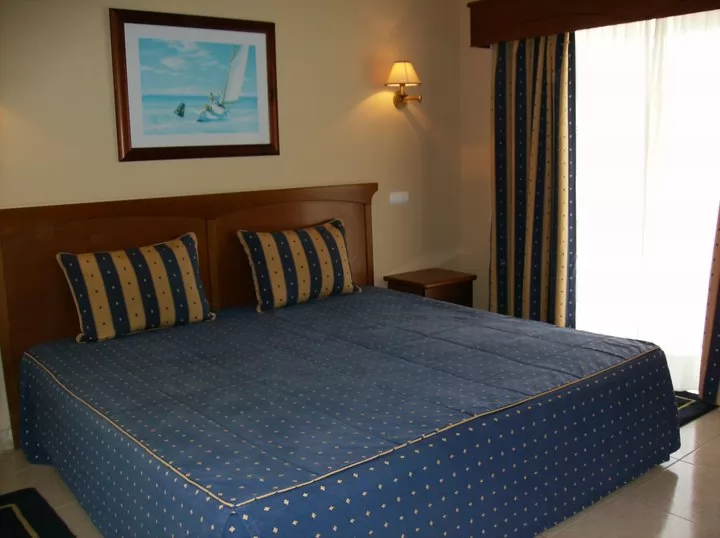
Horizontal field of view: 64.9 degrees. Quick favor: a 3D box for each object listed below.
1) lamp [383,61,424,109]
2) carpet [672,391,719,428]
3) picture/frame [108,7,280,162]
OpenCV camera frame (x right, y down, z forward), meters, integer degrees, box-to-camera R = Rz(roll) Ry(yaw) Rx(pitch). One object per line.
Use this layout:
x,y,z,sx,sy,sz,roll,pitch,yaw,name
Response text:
0.353,-1.414,4.481,0.320,0.379,0.336,-8,9,-37,lamp
2.067,0.869,3.475,0.256,0.037,0.239,-11,14,-35,carpet
-1.114,-1.199,3.646,1.018,0.906,0.040,-6,7,-36,picture/frame
